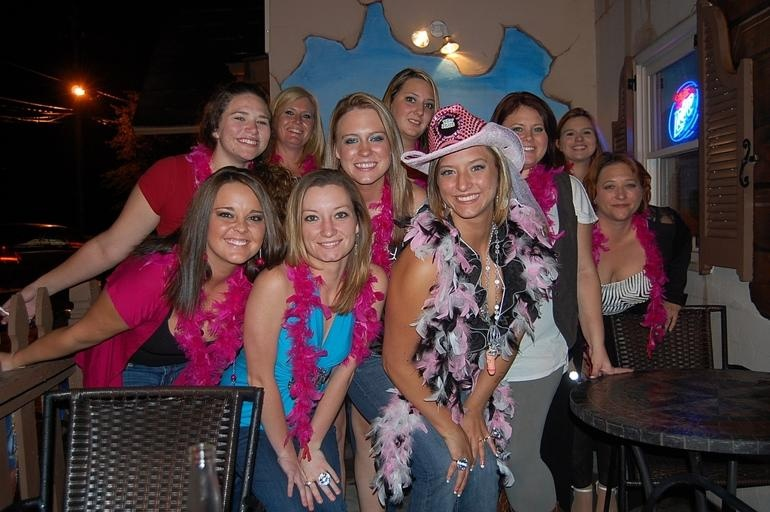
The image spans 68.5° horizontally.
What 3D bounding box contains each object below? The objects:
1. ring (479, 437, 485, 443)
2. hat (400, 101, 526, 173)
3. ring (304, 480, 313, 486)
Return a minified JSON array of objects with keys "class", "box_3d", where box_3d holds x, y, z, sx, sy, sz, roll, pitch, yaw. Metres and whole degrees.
[{"class":"ring","box_3d":[0.524,0.979,3.028,0.024,0.025,0.008,2,8,-9]},{"class":"hat","box_3d":[0.514,-0.615,3.111,0.513,0.215,0.459,11,-21,-18]},{"class":"ring","box_3d":[-0.402,1.177,2.959,0.039,0.028,0.013,-1,-5,-8]}]
